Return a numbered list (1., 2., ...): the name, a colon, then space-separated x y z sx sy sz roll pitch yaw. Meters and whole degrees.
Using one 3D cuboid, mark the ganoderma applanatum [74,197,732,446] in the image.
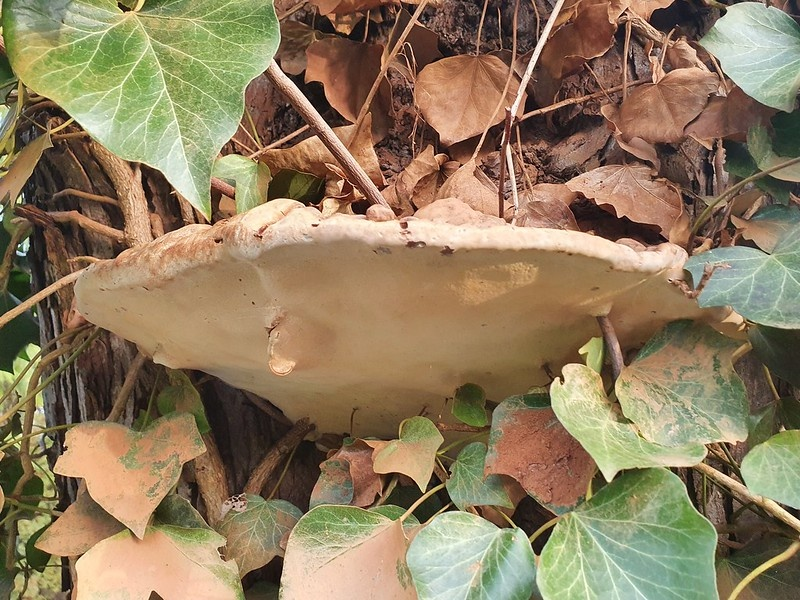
1. ganoderma applanatum: -0.023 0.009 1.355 0.532 0.502 0.179 4 83 -36
